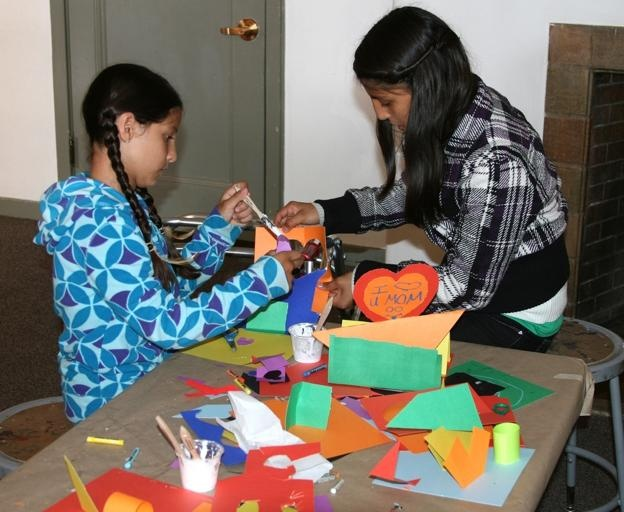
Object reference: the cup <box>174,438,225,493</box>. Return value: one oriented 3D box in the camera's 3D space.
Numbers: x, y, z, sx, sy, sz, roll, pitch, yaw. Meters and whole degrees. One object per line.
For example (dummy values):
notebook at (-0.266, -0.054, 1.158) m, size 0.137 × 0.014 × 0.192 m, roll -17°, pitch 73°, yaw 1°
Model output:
cup at (-0.168, 0.303, 0.852) m, size 0.068 × 0.050 × 0.066 m, roll 1°, pitch 7°, yaw 0°

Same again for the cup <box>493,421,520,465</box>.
cup at (0.287, 0.279, 0.907) m, size 0.060 × 0.055 × 0.055 m, roll -3°, pitch 15°, yaw 1°

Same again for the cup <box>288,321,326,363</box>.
cup at (-0.007, 0.171, 1.215) m, size 0.079 × 0.051 × 0.076 m, roll -1°, pitch 14°, yaw 0°

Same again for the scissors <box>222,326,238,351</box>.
scissors at (-0.184, 0.181, 1.296) m, size 0.040 × 0.002 × 0.111 m, roll 4°, pitch 13°, yaw -11°

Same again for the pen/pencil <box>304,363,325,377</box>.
pen/pencil at (0.005, 0.223, 1.166) m, size 0.069 × 0.011 × 0.013 m, roll -13°, pitch 15°, yaw -43°
